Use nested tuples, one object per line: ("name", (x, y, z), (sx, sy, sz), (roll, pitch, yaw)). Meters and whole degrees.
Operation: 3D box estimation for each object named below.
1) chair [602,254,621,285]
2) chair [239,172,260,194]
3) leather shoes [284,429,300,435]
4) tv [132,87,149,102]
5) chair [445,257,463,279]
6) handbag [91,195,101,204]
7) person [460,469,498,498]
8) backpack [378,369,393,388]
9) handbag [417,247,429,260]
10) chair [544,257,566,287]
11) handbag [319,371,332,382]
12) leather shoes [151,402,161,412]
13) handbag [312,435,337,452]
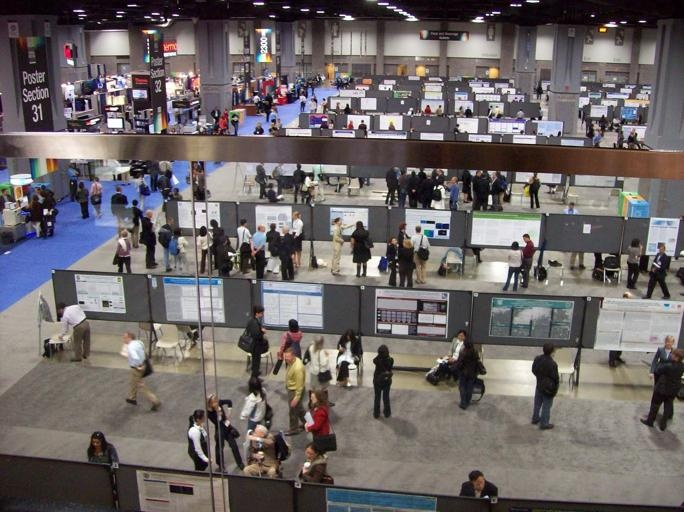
("chair", (7.000, 0.366, 15.048), (0.503, 0.828, 0.611), (4, 37, 21))
("chair", (-3.556, -2.735, 22.154), (0.960, 0.909, 0.769), (-1, 24, -3))
("leather shoes", (-0.829, 2.923, 9.653), (0.256, 0.108, 0.087), (3, 13, -1))
("tv", (-9.539, -7.653, 27.465), (0.903, 0.611, 0.460), (2, 15, 0))
("chair", (3.046, 0.290, 15.701), (0.434, 0.742, 0.538), (0, 11, 3))
("handbag", (-8.075, -1.835, 19.065), (0.289, 0.282, 0.278), (2, -3, 14))
("person", (1.744, 2.943, 7.397), (0.464, 0.387, 1.176), (-6, -25, 14))
("backpack", (0.725, 2.032, 9.844), (0.335, 0.327, 0.206), (-2, 5, -3))
("handbag", (1.990, -0.071, 14.242), (0.263, 0.307, 0.169), (-2, 15, -2))
("chair", (5.632, 0.456, 15.338), (0.506, 1.012, 0.582), (1, 18, 7))
("handbag", (-0.294, 2.072, 10.052), (0.202, 0.199, 0.187), (0, 6, 3))
("leather shoes", (-3.338, 2.666, 10.336), (0.172, 0.166, 0.161), (1, 13, 2))
("handbag", (-0.236, 2.616, 8.001), (0.363, 0.255, 0.242), (-3, 3, -6))
